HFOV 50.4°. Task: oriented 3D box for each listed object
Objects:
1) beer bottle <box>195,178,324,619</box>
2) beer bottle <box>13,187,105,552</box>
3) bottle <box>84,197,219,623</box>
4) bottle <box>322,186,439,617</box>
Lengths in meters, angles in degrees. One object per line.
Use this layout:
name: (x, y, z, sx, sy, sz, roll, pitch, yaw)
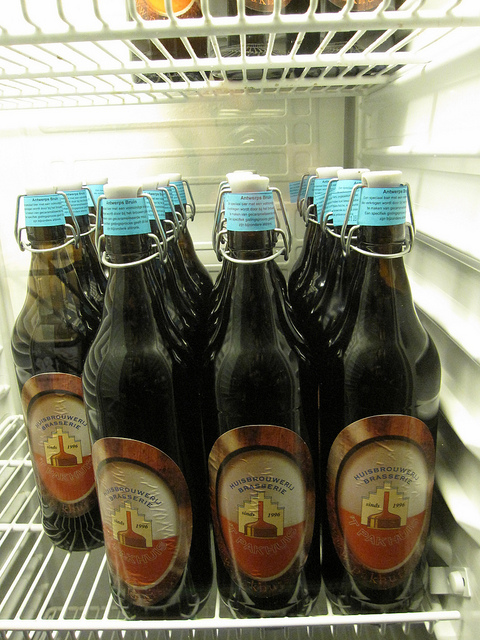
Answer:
beer bottle: (0.032, 0.086, 0.509, 0.116, 0.430, 0.115, -3, 17, 1)
beer bottle: (-0.206, 0.053, 0.623, 0.113, 0.425, 0.119, 2, 24, -1)
bottle: (-0.087, 0.125, 0.507, 0.115, 0.358, 0.103, -7, 16, -19)
bottle: (0.132, 0.095, 0.479, 0.118, 0.427, 0.098, 5, 16, 23)
